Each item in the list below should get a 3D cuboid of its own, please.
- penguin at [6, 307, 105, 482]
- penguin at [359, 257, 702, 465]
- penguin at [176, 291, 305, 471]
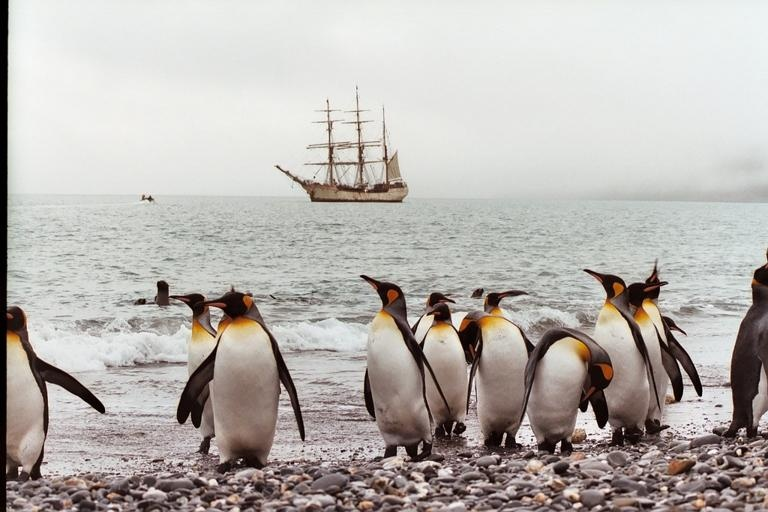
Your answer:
[{"bbox_3d":[-3.562,1.497,9.842,0.865,1.881,0.890,2,-7,4],"label":"penguin"},{"bbox_3d":[2.129,1.168,10.430,2.743,1.998,1.245,-2,5,-10],"label":"penguin"},{"bbox_3d":[-1.563,1.297,9.818,1.364,1.859,1.061,-2,-5,12],"label":"penguin"}]
